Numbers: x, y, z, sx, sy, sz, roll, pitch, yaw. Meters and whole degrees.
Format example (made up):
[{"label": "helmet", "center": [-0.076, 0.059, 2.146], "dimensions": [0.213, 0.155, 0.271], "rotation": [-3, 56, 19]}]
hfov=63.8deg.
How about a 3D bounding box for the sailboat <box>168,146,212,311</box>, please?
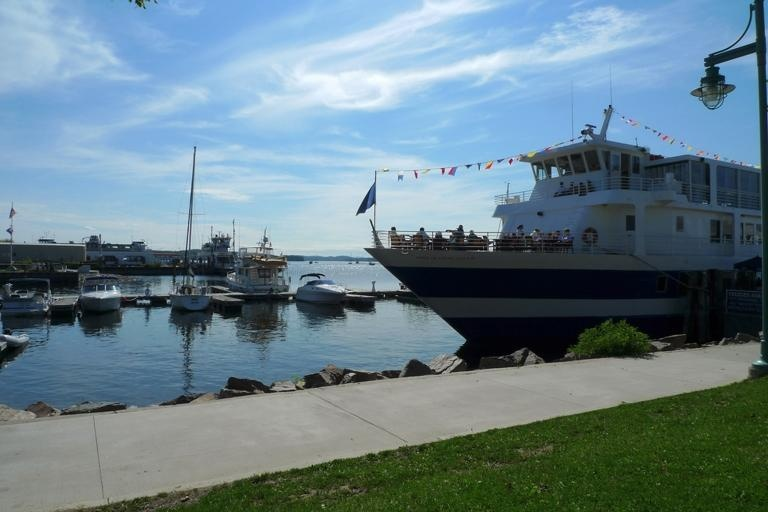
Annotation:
[{"label": "sailboat", "center": [-14.942, -2.770, 46.905], "dimensions": [2.446, 9.360, 9.481], "rotation": [5, -6, -13]}]
